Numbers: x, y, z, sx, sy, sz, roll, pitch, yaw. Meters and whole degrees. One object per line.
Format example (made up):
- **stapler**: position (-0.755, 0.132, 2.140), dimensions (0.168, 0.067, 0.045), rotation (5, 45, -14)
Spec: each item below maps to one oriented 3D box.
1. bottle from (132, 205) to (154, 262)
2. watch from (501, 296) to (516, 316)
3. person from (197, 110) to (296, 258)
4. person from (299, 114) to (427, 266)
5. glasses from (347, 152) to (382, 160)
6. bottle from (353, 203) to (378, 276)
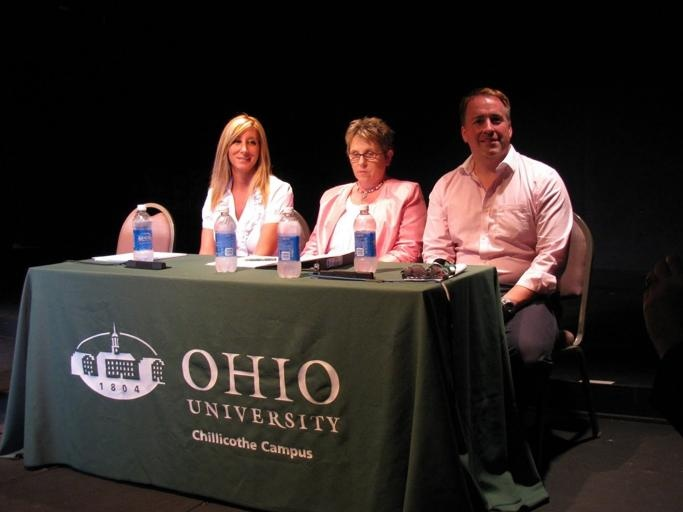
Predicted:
- **bottle**: position (-1.126, -0.107, 3.482), dimensions (0.122, 0.358, 0.118), rotation (-7, -14, -2)
- **watch**: position (0.908, 0.275, 3.354), dimensions (0.094, 0.117, 0.070), rotation (0, 5, -7)
- **person**: position (-0.633, -0.489, 4.572), dimensions (0.743, 1.461, 0.870), rotation (0, 2, -7)
- **person**: position (0.135, -0.387, 4.090), dimensions (0.783, 1.009, 0.591), rotation (1, 0, 26)
- **glasses**: position (0.157, -0.654, 4.053), dimensions (0.196, 0.060, 0.061), rotation (7, 15, 24)
- **bottle**: position (0.115, -0.084, 2.998), dimensions (0.150, 0.345, 0.161), rotation (-3, 18, 1)
